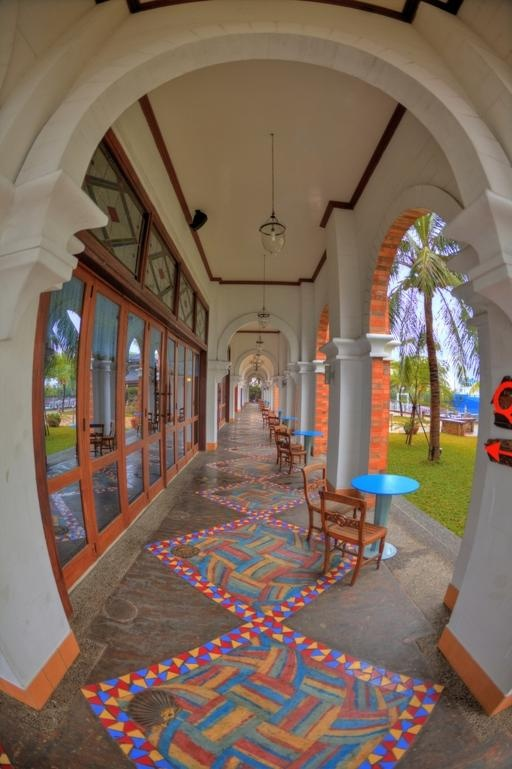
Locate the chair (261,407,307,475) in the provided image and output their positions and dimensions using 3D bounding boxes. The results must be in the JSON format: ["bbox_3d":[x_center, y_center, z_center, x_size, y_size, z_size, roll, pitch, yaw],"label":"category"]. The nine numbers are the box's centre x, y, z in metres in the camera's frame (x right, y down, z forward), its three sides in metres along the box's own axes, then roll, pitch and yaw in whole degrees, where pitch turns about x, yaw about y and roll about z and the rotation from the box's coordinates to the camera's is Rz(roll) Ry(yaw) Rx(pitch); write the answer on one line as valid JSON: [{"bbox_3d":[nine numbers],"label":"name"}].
[{"bbox_3d":[0.653,1.327,8.294,1.009,1.276,0.822,-2,4,-9],"label":"chair"}]

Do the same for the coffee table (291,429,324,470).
[{"bbox_3d":[1.068,1.311,8.307,0.925,0.844,0.846,0,-4,19],"label":"coffee table"}]

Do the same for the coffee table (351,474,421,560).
[{"bbox_3d":[1.184,1.316,3.973,0.716,0.647,0.637,12,-7,-3],"label":"coffee table"}]
